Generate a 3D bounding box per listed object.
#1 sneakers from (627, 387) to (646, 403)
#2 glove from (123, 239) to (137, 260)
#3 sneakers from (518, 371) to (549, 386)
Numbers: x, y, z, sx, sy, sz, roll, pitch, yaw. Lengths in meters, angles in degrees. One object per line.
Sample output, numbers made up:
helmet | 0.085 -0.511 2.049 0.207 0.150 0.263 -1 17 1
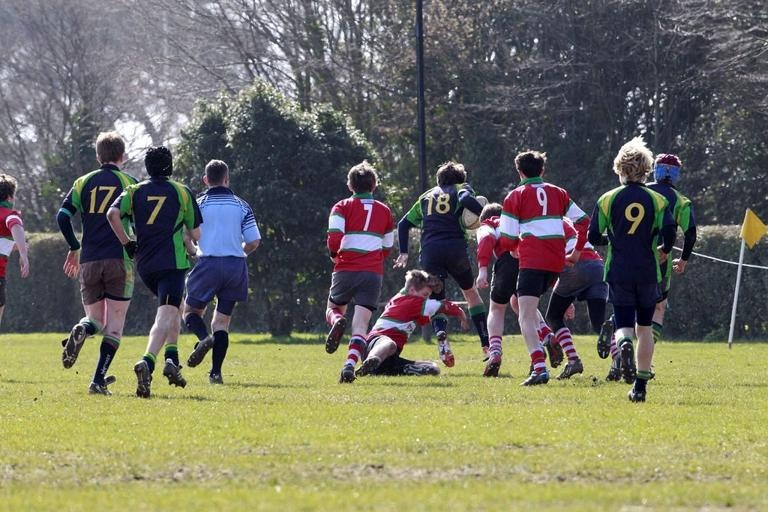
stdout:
sneakers | 5.062 2.777 25.922 0.175 0.200 0.425 2 2 3
glove | -5.171 -0.180 26.492 0.238 0.281 0.314 1 -2 -21
sneakers | 3.120 2.543 27.133 0.648 0.298 0.245 -3 -3 5
